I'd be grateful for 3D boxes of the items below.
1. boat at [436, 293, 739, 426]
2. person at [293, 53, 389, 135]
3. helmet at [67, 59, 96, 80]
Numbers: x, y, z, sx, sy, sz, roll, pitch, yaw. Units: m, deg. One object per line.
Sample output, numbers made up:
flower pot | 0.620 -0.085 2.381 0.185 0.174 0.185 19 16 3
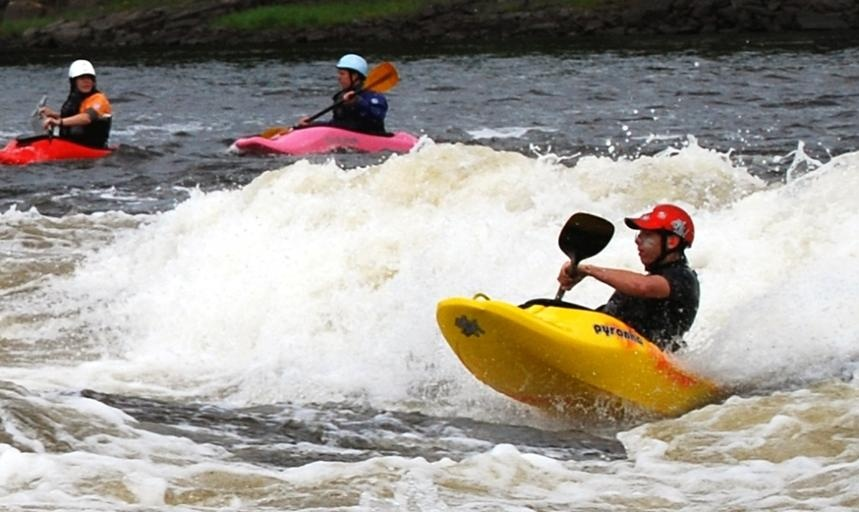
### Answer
boat | 2.115 1.449 20.253 3.551 0.720 1.681 19 -6 -25
person | -1.446 -3.035 27.573 0.958 1.478 0.984 -9 20 -27
helmet | -6.581 -3.445 26.979 0.405 0.341 0.287 -7 18 -25
